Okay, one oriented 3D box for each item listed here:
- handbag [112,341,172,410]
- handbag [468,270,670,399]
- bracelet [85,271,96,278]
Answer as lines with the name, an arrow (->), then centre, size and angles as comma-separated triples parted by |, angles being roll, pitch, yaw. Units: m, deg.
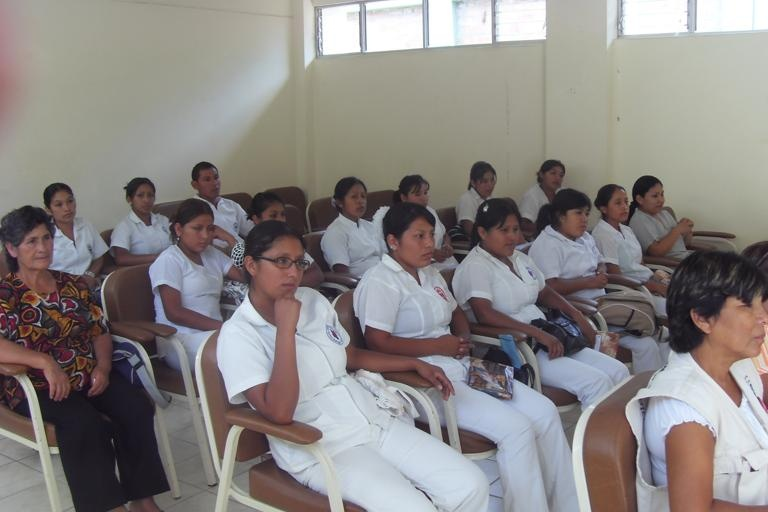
handbag -> -1.205, 0.562, 3.042 | 0.140, 0.366, 0.212 | -43, 7, -6
handbag -> 1.040, 0.277, 3.447 | 0.921, 1.018, 0.664 | -1, 7, 36
bracelet -> -2.108, 0.124, 4.379 | 0.052, 0.015, 0.055 | 16, 10, -7
